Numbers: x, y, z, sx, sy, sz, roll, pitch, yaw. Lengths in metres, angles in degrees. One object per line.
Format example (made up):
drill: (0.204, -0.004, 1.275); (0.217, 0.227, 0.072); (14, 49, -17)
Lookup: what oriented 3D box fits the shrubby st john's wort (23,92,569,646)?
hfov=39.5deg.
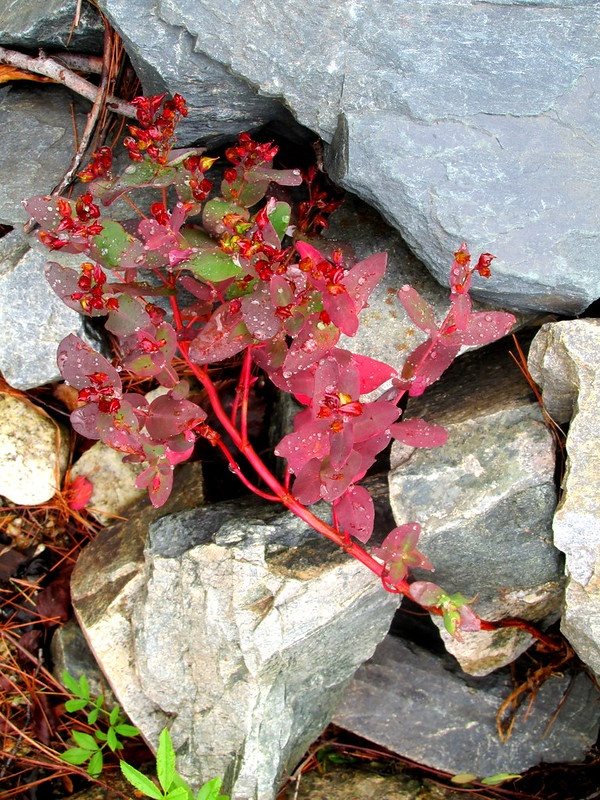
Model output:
shrubby st john's wort: (-0.111, -0.022, 2.462); (1.492, 1.497, 0.889); (29, 52, 19)
